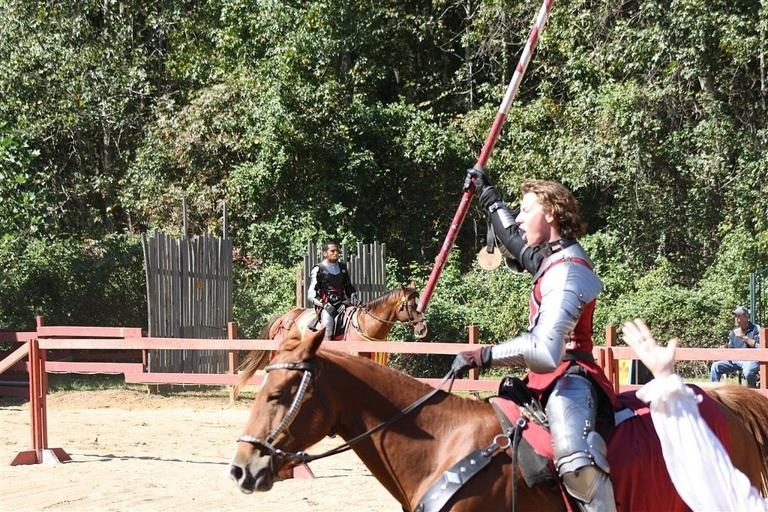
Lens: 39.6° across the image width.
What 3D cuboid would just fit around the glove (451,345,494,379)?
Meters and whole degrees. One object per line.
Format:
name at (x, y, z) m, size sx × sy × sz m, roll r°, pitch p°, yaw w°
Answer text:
glove at (1.513, 1.797, 18.259) m, size 0.571 × 0.252 × 0.466 m, roll -28°, pitch -22°, yaw 8°

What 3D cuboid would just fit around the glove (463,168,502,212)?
glove at (1.809, -1.224, 19.472) m, size 0.468 × 0.988 × 0.290 m, roll -14°, pitch -1°, yaw 20°
